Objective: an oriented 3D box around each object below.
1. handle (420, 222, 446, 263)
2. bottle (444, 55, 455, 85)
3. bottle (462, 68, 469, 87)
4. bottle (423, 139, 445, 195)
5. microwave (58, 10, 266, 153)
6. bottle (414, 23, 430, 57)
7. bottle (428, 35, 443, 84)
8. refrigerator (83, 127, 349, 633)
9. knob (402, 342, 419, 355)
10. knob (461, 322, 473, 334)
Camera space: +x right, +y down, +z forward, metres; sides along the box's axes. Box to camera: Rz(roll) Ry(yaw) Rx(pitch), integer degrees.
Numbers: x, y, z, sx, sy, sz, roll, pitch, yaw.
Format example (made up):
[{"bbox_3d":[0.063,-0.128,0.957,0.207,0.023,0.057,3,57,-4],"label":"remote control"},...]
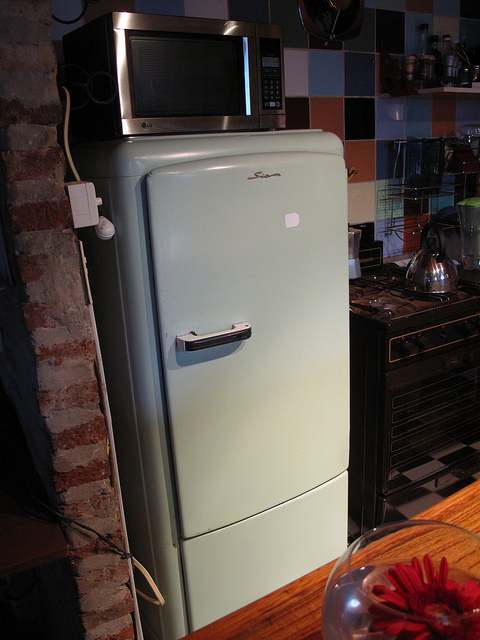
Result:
[{"bbox_3d":[0.675,-0.269,1.868,0.019,0.142,0.113,-16,22,-13],"label":"handle"},{"bbox_3d":[0.895,-1.071,2.283,0.036,0.118,0.030,5,9,25],"label":"bottle"},{"bbox_3d":[0.976,-1.051,2.305,0.026,0.087,0.047,3,8,17],"label":"bottle"},{"bbox_3d":[0.856,-0.695,2.359,0.080,0.206,0.115,4,9,18],"label":"bottle"},{"bbox_3d":[-0.204,-0.537,1.454,0.607,0.417,0.421,-15,24,-36],"label":"microwave"},{"bbox_3d":[0.832,-1.266,2.396,0.080,0.140,0.052,-3,9,-27],"label":"bottle"},{"bbox_3d":[0.868,-1.153,2.372,0.062,0.220,0.124,3,8,13],"label":"bottle"},{"bbox_3d":[-0.005,0.172,1.397,0.733,1.319,0.243,-4,9,-31],"label":"refrigerator"},{"bbox_3d":[0.545,0.091,1.708,0.050,0.039,0.023,5,-9,-41],"label":"knob"},{"bbox_3d":[0.795,0.028,1.867,0.039,0.040,0.013,-2,8,-19],"label":"knob"}]
